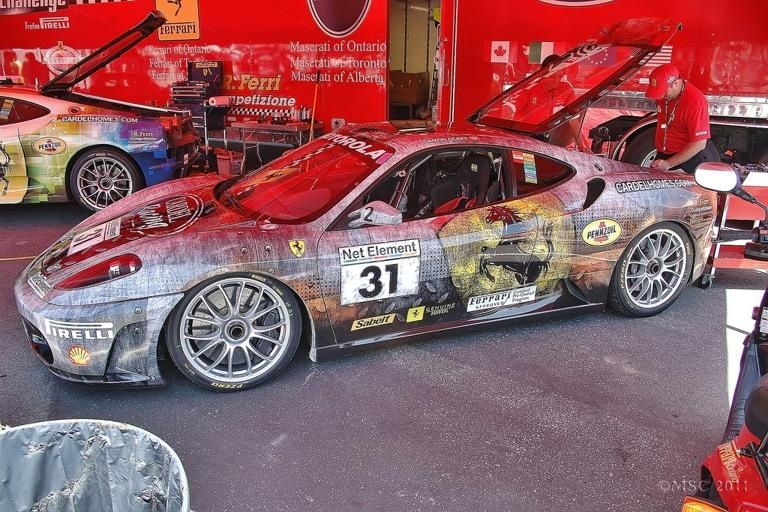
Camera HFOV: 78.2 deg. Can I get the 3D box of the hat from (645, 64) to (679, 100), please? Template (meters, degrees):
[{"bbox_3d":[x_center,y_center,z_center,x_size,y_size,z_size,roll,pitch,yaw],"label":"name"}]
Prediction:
[{"bbox_3d":[2.950,-1.843,4.987,0.424,0.223,0.257,-46,37,-5],"label":"hat"}]

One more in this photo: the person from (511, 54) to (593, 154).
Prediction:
[{"bbox_3d":[1.939,-1.764,5.652,0.669,0.420,1.209,12,5,15],"label":"person"}]

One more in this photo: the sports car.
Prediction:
[{"bbox_3d":[0.025,-0.206,4.691,5.851,2.594,2.525,-6,28,-12],"label":"sports car"}]

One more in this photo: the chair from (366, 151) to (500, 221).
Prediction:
[{"bbox_3d":[0.466,-0.621,4.091,0.902,0.398,0.635,-12,53,-7],"label":"chair"}]

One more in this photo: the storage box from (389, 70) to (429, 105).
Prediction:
[{"bbox_3d":[0.799,-5.114,14.899,1.156,1.157,1.201,3,38,5],"label":"storage box"}]
